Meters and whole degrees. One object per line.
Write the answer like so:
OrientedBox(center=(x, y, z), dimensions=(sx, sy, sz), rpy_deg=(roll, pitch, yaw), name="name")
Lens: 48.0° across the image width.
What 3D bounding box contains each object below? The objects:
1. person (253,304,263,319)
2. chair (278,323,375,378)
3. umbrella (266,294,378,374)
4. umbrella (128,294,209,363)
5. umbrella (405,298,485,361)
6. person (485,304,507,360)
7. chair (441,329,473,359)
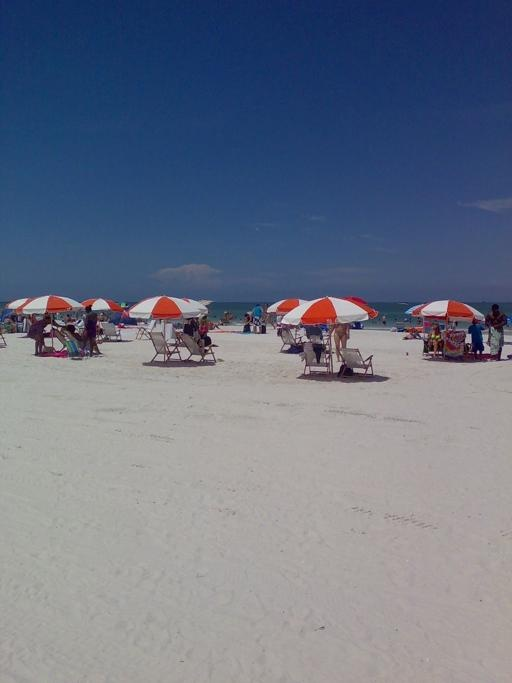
OrientedBox(center=(0.047, -1.204, 23.664), dimensions=(0.421, 0.588, 1.070), rpy_deg=(0, 11, -1), name="person")
OrientedBox(center=(1.394, 0.209, 12.011), dimensions=(1.222, 0.896, 0.904), rpy_deg=(2, 9, 24), name="chair")
OrientedBox(center=(1.060, -0.392, 8.946), dimensions=(1.437, 0.978, 1.513), rpy_deg=(-4, 13, 18), name="umbrella")
OrientedBox(center=(-1.888, -0.183, 12.681), dimensions=(1.491, 1.285, 1.500), rpy_deg=(9, 16, 37), name="umbrella")
OrientedBox(center=(4.346, -0.173, 13.331), dimensions=(1.885, 1.550, 1.851), rpy_deg=(4, 7, 23), name="umbrella")
OrientedBox(center=(4.859, -0.165, 11.711), dimensions=(0.361, 1.262, 0.940), rpy_deg=(5, 12, 23), name="person")
OrientedBox(center=(4.262, 0.074, 12.463), dimensions=(0.633, 0.612, 0.790), rpy_deg=(2, 5, 8), name="chair")
